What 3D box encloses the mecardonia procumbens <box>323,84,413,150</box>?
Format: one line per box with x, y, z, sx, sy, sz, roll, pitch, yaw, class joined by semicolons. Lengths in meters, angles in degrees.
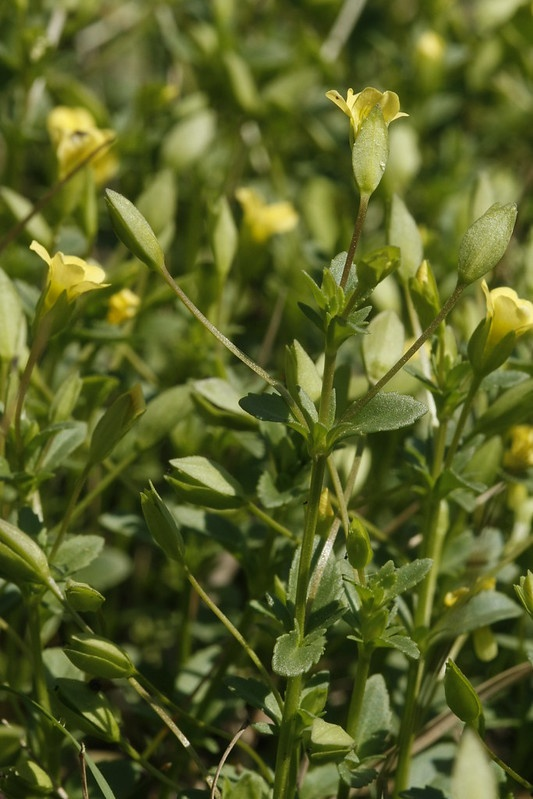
0.056;-0.171;0.454;0.044;0.042;0.027;22;85;11;mecardonia procumbens
